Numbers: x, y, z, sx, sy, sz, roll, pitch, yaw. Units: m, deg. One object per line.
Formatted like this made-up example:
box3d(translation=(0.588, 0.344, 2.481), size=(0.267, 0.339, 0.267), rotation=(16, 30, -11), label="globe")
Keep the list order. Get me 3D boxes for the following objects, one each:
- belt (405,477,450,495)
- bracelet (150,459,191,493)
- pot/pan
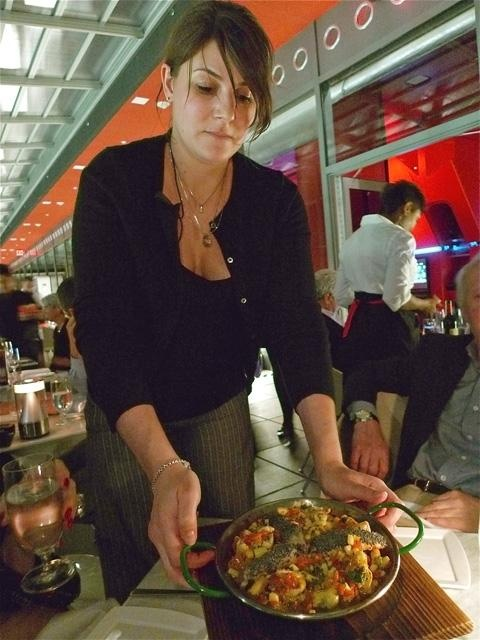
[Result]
box3d(translation=(0.578, 0.517, 1.503), size=(0.060, 0.027, 0.113), rotation=(-8, 8, -23), label="belt")
box3d(translation=(-0.098, 0.218, 0.674), size=(0.053, 0.040, 0.052), rotation=(-6, 7, -13), label="bracelet")
box3d(translation=(0.074, 0.281, 0.578), size=(0.226, 0.041, 0.232), rotation=(3, 10, 45), label="pot/pan")
